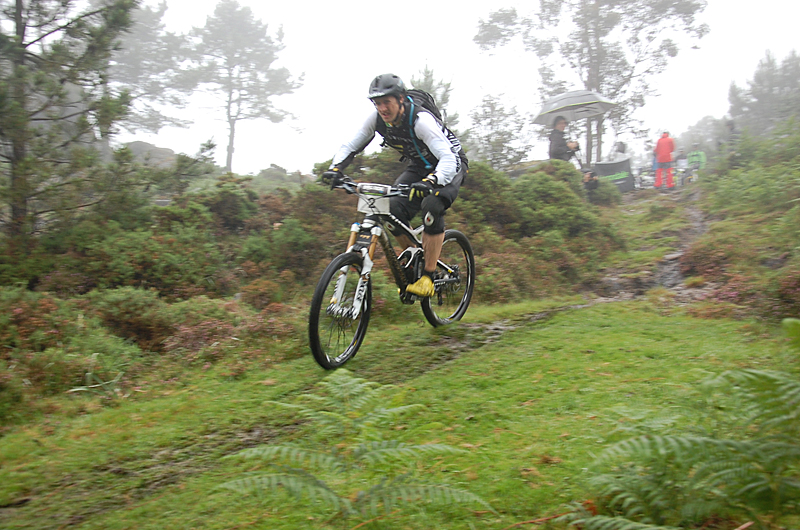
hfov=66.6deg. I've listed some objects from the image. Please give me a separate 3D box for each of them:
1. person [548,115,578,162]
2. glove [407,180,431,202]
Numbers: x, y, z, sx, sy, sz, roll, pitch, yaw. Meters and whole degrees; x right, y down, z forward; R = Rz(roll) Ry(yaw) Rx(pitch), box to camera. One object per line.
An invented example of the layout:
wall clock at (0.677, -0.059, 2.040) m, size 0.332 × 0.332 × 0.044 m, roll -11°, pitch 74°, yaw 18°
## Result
person at (4.825, -3.808, 18.275) m, size 0.803 × 1.358 × 1.566 m, roll -5°, pitch 1°, yaw 14°
glove at (0.252, -0.962, 7.821) m, size 0.309 × 0.244 × 0.252 m, roll -4°, pitch 1°, yaw 1°
